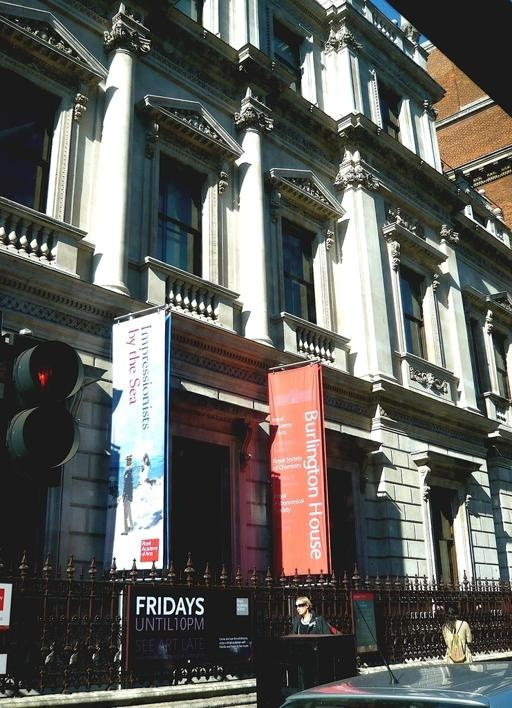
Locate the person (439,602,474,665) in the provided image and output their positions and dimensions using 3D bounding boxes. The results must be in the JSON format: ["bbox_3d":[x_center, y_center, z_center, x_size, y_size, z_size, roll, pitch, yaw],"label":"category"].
[{"bbox_3d":[3.057,4.454,9.366,0.403,1.290,0.408,-5,12,11],"label":"person"}]
